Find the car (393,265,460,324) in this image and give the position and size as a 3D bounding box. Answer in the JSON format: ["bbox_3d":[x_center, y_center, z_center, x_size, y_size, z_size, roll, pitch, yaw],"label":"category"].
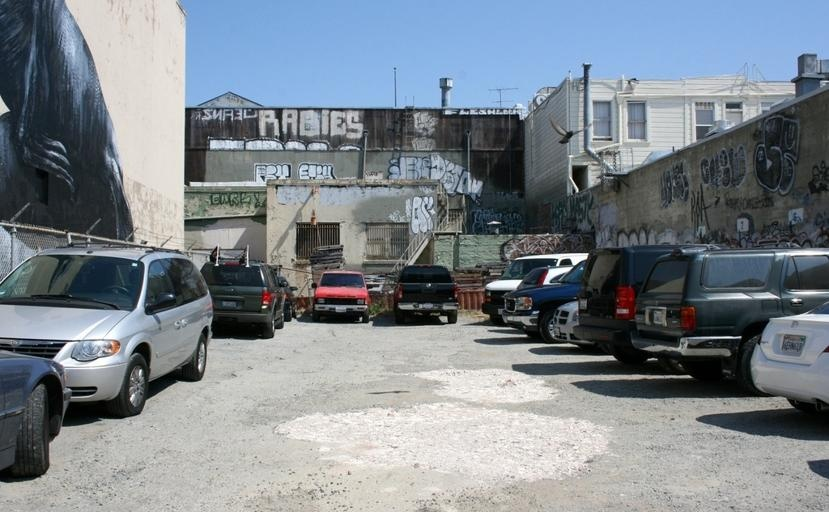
[{"bbox_3d":[0.392,1.369,26.350,1.960,1.580,3.751,0,2,-1],"label":"car"}]

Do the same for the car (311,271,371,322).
[{"bbox_3d":[-2.638,1.608,27.040,1.891,1.735,2.163,-2,10,-8],"label":"car"}]
